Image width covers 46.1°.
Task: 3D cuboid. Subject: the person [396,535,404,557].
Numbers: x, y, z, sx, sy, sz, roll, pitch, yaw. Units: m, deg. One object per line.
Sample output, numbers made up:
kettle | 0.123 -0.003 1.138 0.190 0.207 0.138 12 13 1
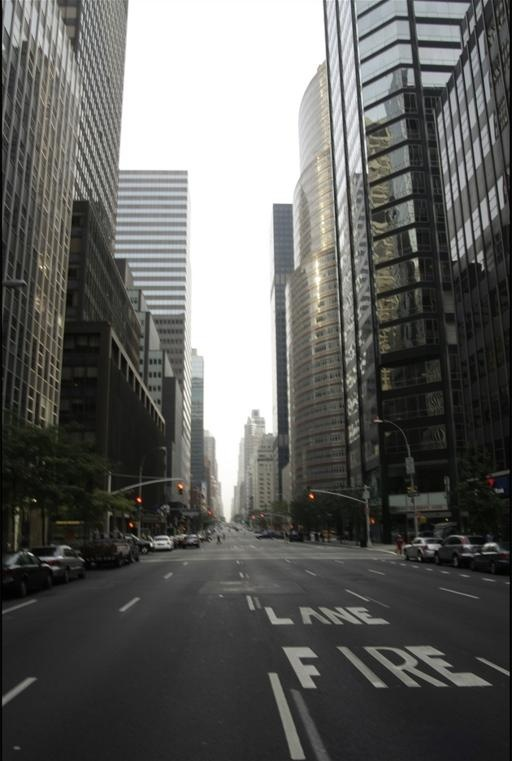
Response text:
person | 11.135 12.776 46.765 0.214 1.519 2.023 -4 -15 18
